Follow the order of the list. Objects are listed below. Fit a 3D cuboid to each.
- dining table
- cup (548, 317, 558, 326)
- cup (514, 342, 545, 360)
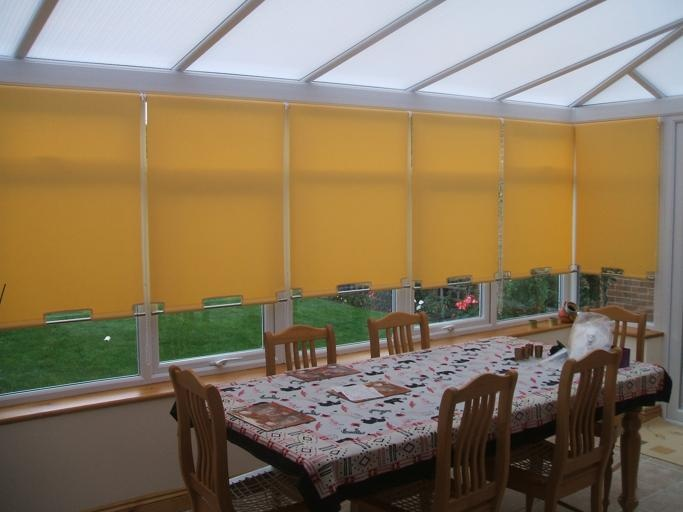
[{"bbox_3d":[0.337,0.866,2.781,1.859,0.353,1.103,-5,1,-35],"label":"dining table"},{"bbox_3d":[2.053,0.643,4.881,0.110,0.074,0.102,0,6,0],"label":"cup"},{"bbox_3d":[1.251,0.651,3.367,0.150,0.063,0.109,-5,4,-13],"label":"cup"}]
